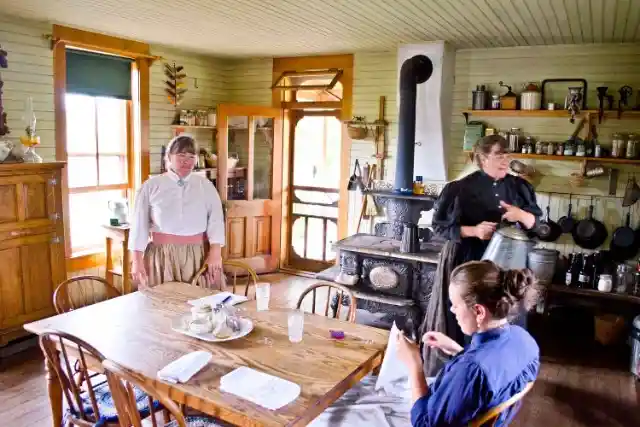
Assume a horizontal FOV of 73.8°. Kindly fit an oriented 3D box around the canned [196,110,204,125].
[{"bbox_3d":[-1.786,-1.422,6.356,0.081,0.218,0.148,1,9,11],"label":"canned"}]

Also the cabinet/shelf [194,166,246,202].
[{"bbox_3d":[-1.491,-0.435,6.346,0.475,0.494,0.888,5,8,37],"label":"cabinet/shelf"}]

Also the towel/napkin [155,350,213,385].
[{"bbox_3d":[-0.777,0.873,2.474,0.148,0.040,0.187,0,9,28],"label":"towel/napkin"}]

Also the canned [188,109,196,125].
[{"bbox_3d":[-1.890,-1.403,6.260,0.087,0.217,0.147,1,9,11],"label":"canned"}]

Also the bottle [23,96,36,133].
[{"bbox_3d":[-3.219,-1.084,4.694,0.132,0.397,0.326,-7,11,-33],"label":"bottle"}]

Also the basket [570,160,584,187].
[{"bbox_3d":[3.073,-0.467,5.085,0.150,0.323,0.134,5,11,32],"label":"basket"}]

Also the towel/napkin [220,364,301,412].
[{"bbox_3d":[-0.331,0.941,2.345,0.281,0.057,0.201,10,11,31],"label":"towel/napkin"}]

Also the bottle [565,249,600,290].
[{"bbox_3d":[3.080,0.640,4.975,0.329,0.387,0.322,5,11,31],"label":"bottle"}]

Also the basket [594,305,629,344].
[{"bbox_3d":[3.321,1.276,4.971,0.367,0.368,0.360,3,-1,-37],"label":"basket"}]

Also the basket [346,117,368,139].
[{"bbox_3d":[0.525,-1.196,5.957,0.270,0.300,0.333,2,1,14],"label":"basket"}]

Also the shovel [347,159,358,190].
[{"bbox_3d":[0.488,-0.555,5.999,0.146,0.434,0.073,16,4,35],"label":"shovel"}]

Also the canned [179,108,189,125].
[{"bbox_3d":[-1.997,-1.409,6.231,0.126,0.205,0.101,-1,9,-2],"label":"canned"}]

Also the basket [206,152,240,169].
[{"bbox_3d":[-1.470,-0.793,6.417,0.336,0.141,0.311,1,-2,-5],"label":"basket"}]

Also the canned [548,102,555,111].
[{"bbox_3d":[2.742,-1.259,5.053,0.105,0.094,0.100,0,4,18],"label":"canned"}]

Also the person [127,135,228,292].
[{"bbox_3d":[-1.267,0.015,3.762,0.808,1.398,0.371,-5,10,-22],"label":"person"}]

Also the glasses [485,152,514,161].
[{"bbox_3d":[1.468,-0.463,3.497,0.197,0.053,0.072,-1,9,-1],"label":"glasses"}]

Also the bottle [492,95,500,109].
[{"bbox_3d":[2.192,-1.376,5.298,0.088,0.179,0.123,1,9,14],"label":"bottle"}]
